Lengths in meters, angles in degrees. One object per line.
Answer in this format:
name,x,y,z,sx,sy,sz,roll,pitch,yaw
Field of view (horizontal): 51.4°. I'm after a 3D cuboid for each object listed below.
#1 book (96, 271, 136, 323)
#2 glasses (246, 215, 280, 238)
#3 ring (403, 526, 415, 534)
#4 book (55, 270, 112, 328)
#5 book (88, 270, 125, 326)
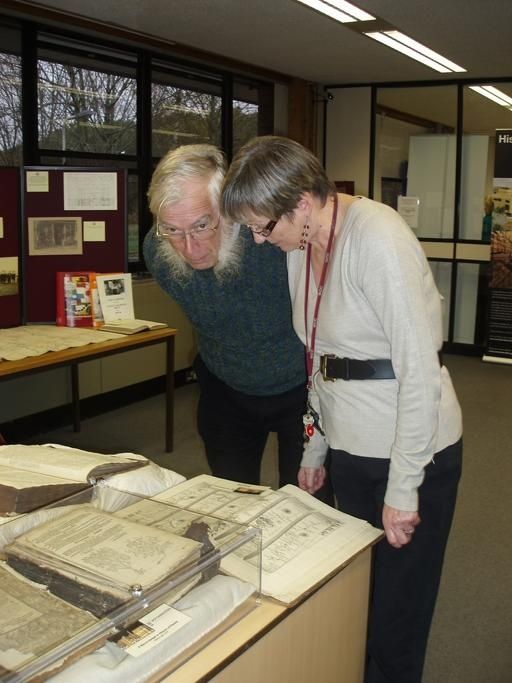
book,-0.877,-0.271,3.293,0.264,0.335,0.036,-18,26,-34
glasses,0.015,-0.230,1.065,0.036,0.011,0.035,-45,35,-23
ring,0.298,0.362,1.025,0.022,0.009,0.023,1,-9,0
book,-1.060,-0.252,3.185,0.315,0.304,0.076,-3,9,-30
book,-0.923,-0.271,3.259,0.041,0.386,0.306,13,17,42
